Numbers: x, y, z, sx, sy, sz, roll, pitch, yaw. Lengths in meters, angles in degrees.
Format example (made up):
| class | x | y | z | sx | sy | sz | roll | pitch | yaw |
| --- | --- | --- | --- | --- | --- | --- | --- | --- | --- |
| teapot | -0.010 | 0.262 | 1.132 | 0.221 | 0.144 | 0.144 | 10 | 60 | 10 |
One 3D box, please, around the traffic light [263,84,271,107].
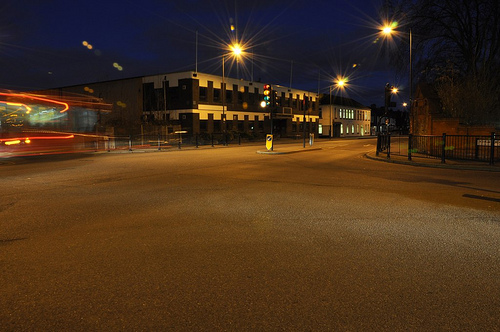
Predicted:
| class | x | y | z | sx | sy | sz | roll | pitch | yaw |
| --- | --- | --- | --- | --- | --- | --- | --- | --- | --- |
| traffic light | 1.277 | -5.141 | 27.448 | 0.646 | 1.543 | 0.548 | -10 | 13 | -43 |
